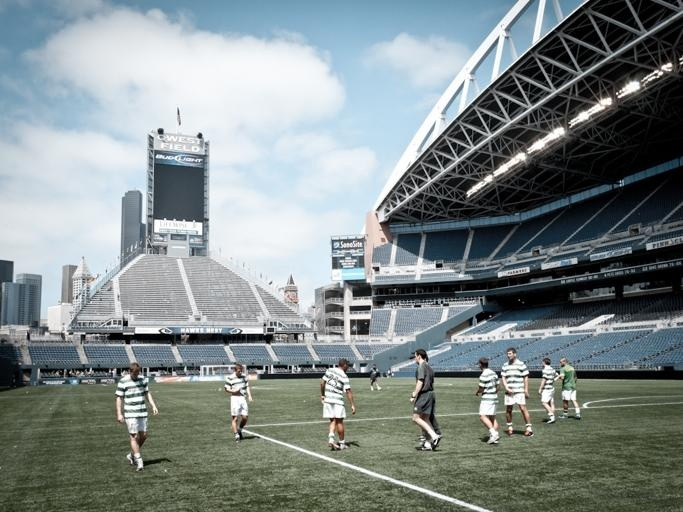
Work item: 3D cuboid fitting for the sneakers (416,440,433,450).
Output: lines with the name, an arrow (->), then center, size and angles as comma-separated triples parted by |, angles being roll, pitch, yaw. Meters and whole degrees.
sneakers -> 2.523, 5.851, 20.234 | 0.196, 0.228, 0.565 | 5, -19, -16

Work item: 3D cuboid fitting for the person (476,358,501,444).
person -> 4.572, 4.553, 20.668 | 0.603, 2.671, 1.099 | -3, -7, 12

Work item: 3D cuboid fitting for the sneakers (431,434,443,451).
sneakers -> 2.859, 5.717, 20.131 | 0.269, 0.278, 0.624 | -7, -29, -18

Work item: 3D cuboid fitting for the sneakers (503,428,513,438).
sneakers -> 5.518, 5.940, 22.050 | 0.238, 0.250, 0.618 | -1, -11, 3

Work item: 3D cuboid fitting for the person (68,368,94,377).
person -> -26.457, 12.127, 67.803 | 1.697, 0.489, 1.185 | -2, -5, 14
